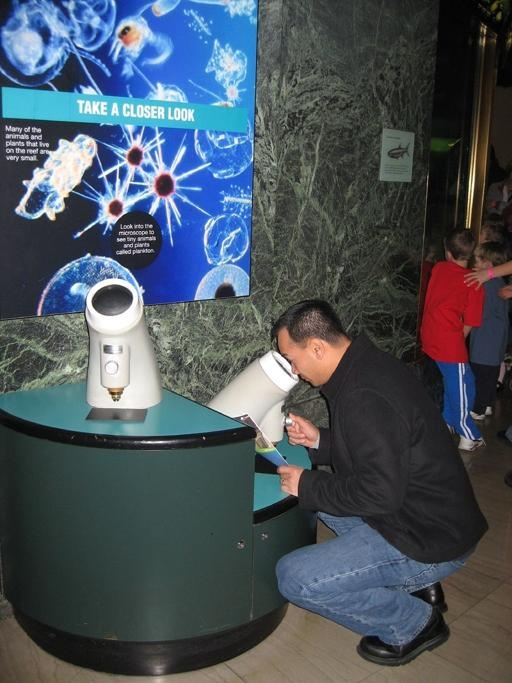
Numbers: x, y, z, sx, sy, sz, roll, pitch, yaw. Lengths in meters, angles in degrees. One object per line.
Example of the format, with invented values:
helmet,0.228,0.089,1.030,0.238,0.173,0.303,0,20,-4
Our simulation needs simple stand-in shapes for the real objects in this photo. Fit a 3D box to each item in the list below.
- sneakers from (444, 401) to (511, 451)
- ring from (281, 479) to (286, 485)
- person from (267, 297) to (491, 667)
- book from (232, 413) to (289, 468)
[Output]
sneakers,1.284,0.498,3.192,0.145,0.187,0.440,-11,41,3
ring,0.074,0.384,1.493,0.011,0.014,0.014,6,8,30
person,0.324,0.388,1.581,0.599,0.928,0.579,-6,8,-4
book,0.008,0.284,1.580,0.196,0.022,0.214,37,-11,15
